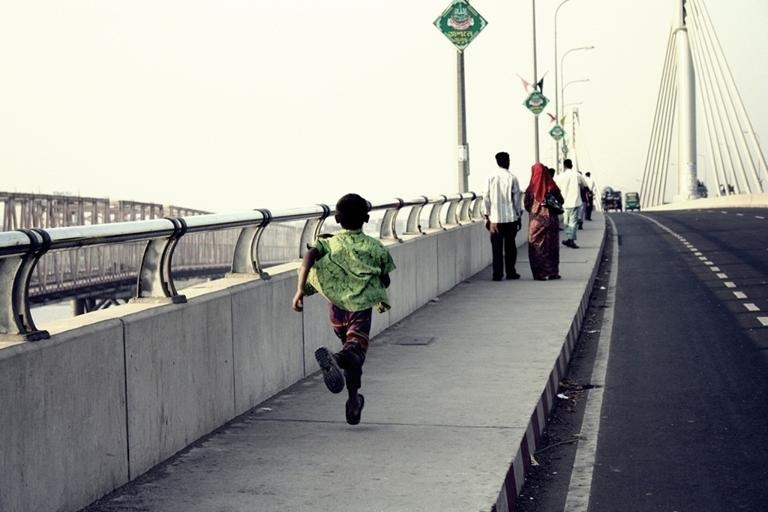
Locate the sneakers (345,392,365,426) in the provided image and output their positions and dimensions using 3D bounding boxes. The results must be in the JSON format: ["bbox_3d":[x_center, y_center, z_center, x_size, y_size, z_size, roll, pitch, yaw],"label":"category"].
[{"bbox_3d":[-0.253,1.305,7.319,0.138,0.317,0.112,4,2,23],"label":"sneakers"}]

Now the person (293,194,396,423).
[{"bbox_3d":[-0.408,0.470,7.314,0.673,2.036,0.880,7,9,36],"label":"person"}]

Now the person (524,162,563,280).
[{"bbox_3d":[3.021,-0.669,16.041,0.750,2.218,1.269,3,7,11],"label":"person"}]

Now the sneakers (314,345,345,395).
[{"bbox_3d":[-0.441,0.917,6.998,0.227,0.383,0.244,2,7,0],"label":"sneakers"}]

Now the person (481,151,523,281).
[{"bbox_3d":[2.249,-0.741,15.985,0.735,2.473,1.188,3,7,9],"label":"person"}]
